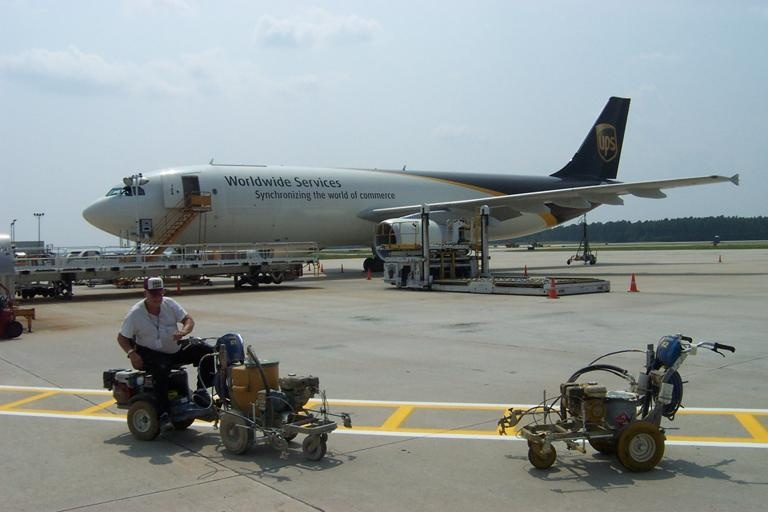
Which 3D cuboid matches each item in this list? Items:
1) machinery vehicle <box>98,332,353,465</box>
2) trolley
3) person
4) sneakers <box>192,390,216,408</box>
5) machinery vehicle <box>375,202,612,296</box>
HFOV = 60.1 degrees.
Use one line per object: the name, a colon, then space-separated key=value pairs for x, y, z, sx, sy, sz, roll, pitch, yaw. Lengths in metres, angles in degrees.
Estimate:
machinery vehicle: x=-2.138 y=1.834 z=8.996 sx=3.484 sy=1.291 sz=1.142 roll=2 pitch=-3 yaw=25
trolley: x=3.001 y=1.761 z=8.615 sx=2.675 sy=1.352 sz=1.751 roll=-2 pitch=2 yaw=-11
person: x=-2.979 y=1.267 z=9.148 sx=1.467 sy=1.754 sz=1.179 roll=0 pitch=16 yaw=-19
sneakers: x=-2.488 y=1.966 z=9.153 sx=0.335 sy=0.118 sz=0.215 roll=1 pitch=-4 yaw=-2
machinery vehicle: x=2.969 y=-0.276 z=25.927 sx=4.051 sy=3.548 sz=9.416 roll=-9 pitch=13 yaw=-38
